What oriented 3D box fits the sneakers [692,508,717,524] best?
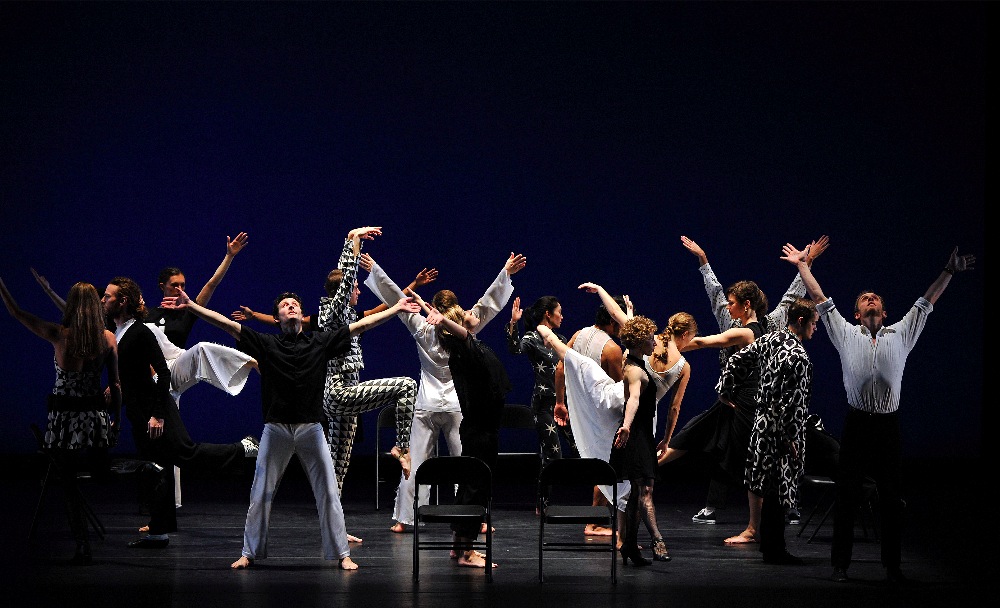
[{"bbox_3d":[2.316,2.381,10.258,0.143,0.124,0.297,1,-1,-38],"label":"sneakers"}]

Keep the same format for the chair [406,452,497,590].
[{"bbox_3d":[-0.416,1.916,8.541,0.794,1.142,0.993,0,3,-5],"label":"chair"}]

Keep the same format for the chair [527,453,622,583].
[{"bbox_3d":[0.755,1.928,8.689,0.755,1.130,1.142,1,3,4],"label":"chair"}]
